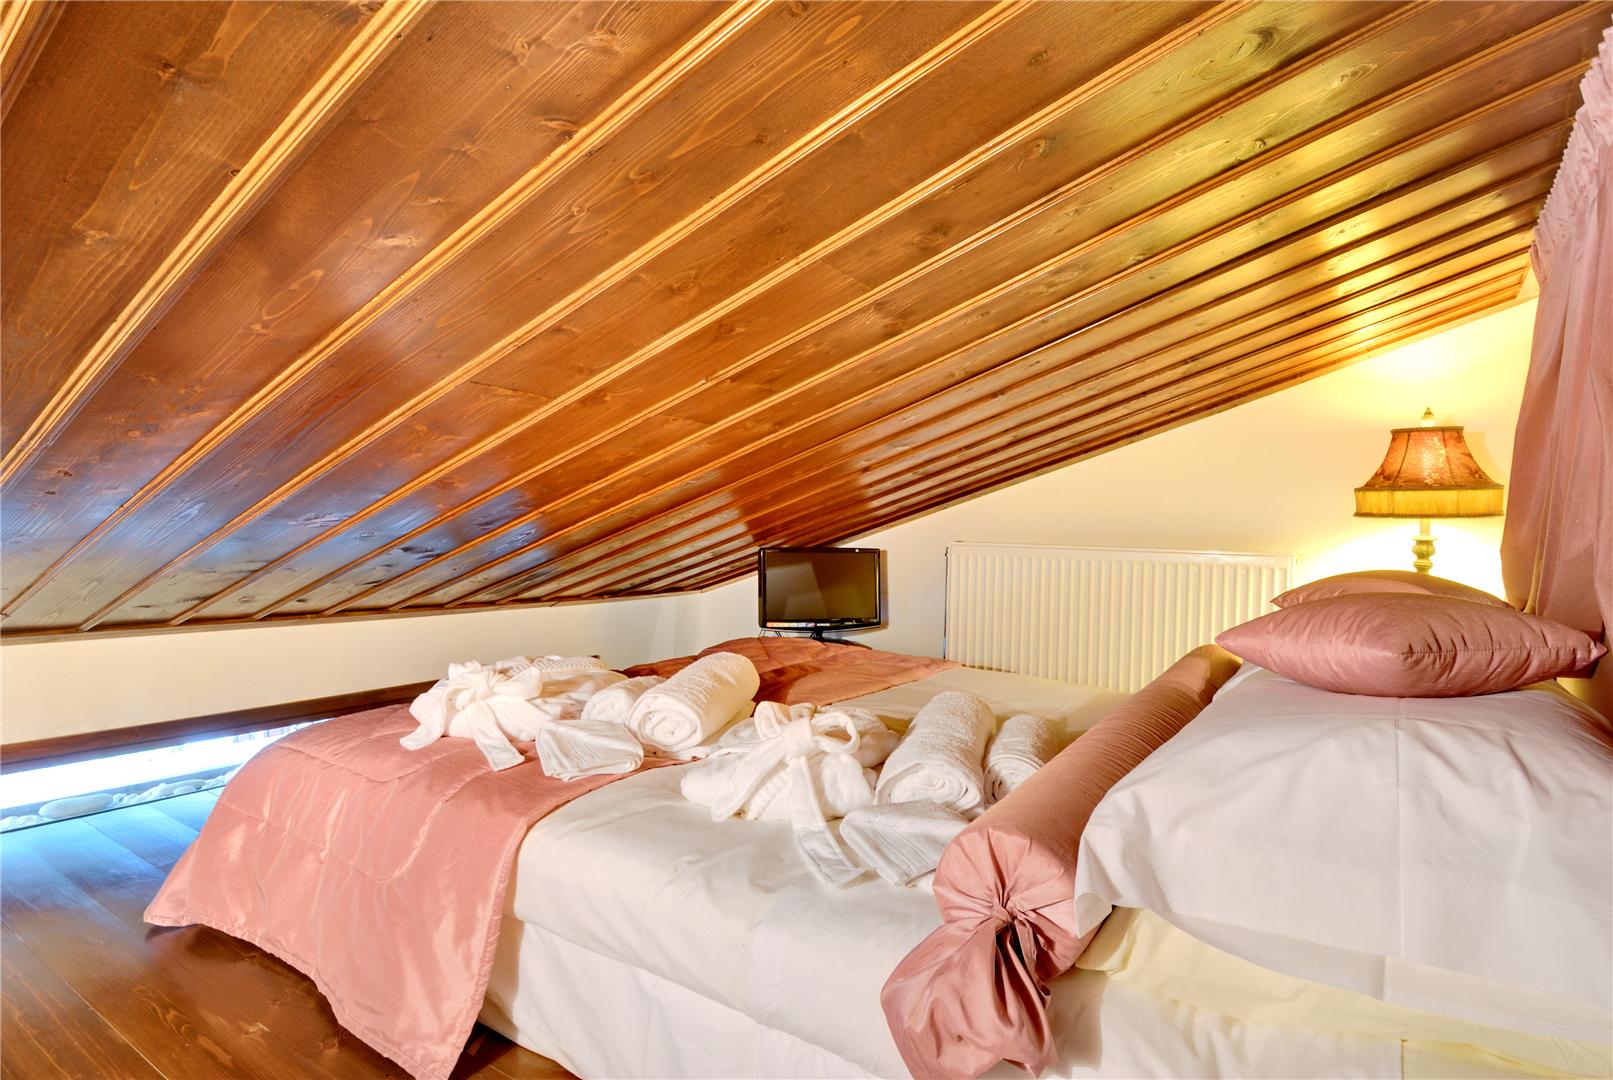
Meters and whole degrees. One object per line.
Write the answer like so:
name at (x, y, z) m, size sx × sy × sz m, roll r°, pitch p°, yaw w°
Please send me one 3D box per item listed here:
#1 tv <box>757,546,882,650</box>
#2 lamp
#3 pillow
tv at (0.049, 0.276, 4.532) m, size 0.801 × 0.390 × 0.184 m, roll -2°, pitch 7°, yaw -24°
lamp at (2.440, -0.276, 3.391) m, size 0.482 × 0.364 × 0.164 m, roll 0°, pitch -7°, yaw 26°
pillow at (0.869, 0.521, 1.634) m, size 0.943 × 0.889 × 0.947 m, roll -2°, pitch -7°, yaw 39°
